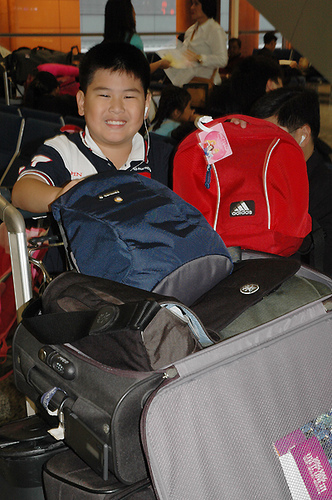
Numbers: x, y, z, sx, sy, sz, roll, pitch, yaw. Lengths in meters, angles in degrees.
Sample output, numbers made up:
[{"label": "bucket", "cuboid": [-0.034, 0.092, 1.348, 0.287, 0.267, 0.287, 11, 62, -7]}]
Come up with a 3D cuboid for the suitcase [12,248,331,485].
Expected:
[{"label": "suitcase", "cuboid": [0.040, 0.110, 0.649, 0.458, 0.155, 0.328, -14, 27, -31]}]

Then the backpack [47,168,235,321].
[{"label": "backpack", "cuboid": [-0.042, -0.039, 0.763, 0.264, 0.097, 0.308, -15, 39, -34]}]

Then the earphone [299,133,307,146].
[{"label": "earphone", "cuboid": [0.534, -0.436, 1.640, 0.014, 0.049, 0.014, 21, 12, -44]}]

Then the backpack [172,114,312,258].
[{"label": "backpack", "cuboid": [0.226, -0.169, 1.230, 0.377, 0.376, 0.407, 19, 32, 32]}]
